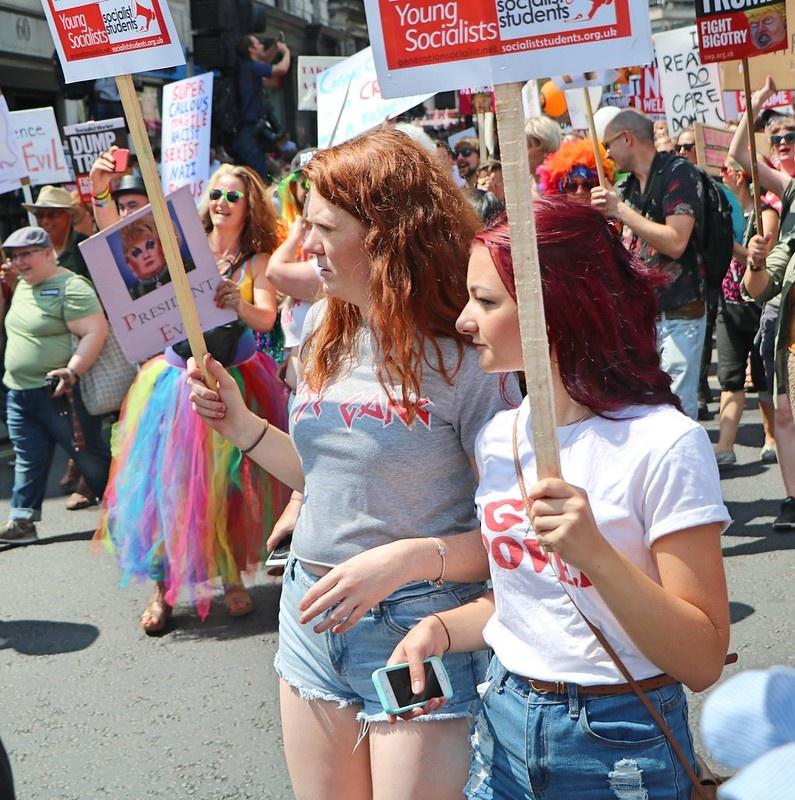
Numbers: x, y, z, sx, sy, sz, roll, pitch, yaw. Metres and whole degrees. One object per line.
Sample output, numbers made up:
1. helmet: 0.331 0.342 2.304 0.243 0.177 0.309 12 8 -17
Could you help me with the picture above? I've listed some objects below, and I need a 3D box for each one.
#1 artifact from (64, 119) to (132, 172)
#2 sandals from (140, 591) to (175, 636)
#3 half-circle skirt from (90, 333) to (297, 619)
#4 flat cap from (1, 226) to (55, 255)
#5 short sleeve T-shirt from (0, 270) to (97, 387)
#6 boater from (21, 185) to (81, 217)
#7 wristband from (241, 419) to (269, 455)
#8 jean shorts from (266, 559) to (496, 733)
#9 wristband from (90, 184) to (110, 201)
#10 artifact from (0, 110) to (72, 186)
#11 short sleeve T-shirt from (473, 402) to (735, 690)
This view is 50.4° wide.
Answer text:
1. artifact: -2.813 -2.369 7.912 0.527 0.507 0.404 -8 11 -17
2. sandals: -1.309 1.120 4.537 0.158 0.199 0.257 -7 11 -9
3. half-circle skirt: -1.062 0.417 4.930 1.179 1.479 0.809 -1 -5 12
4. flat cap: -2.713 -1.183 6.154 0.208 0.131 0.271 -9 -7 21
5. short sleeve T-shirt: -2.546 -0.508 6.198 0.550 0.814 0.921 -3 4 -42
6. boater: -3.157 -1.808 7.639 0.435 0.254 0.309 -9 11 -20
7. wristband: -0.371 0.101 2.187 0.077 0.021 0.081 -47 14 13
8. jean shorts: -0.033 0.435 1.865 0.493 0.358 0.342 2 -6 40
9. wristband: -1.714 -1.193 4.849 0.087 0.050 0.091 -4 10 -1
10. artifact: -3.726 -2.652 8.816 0.453 0.777 0.370 -9 11 -17
11. short sleeve T-shirt: 0.318 0.236 1.477 0.296 0.453 0.467 -9 12 -20
